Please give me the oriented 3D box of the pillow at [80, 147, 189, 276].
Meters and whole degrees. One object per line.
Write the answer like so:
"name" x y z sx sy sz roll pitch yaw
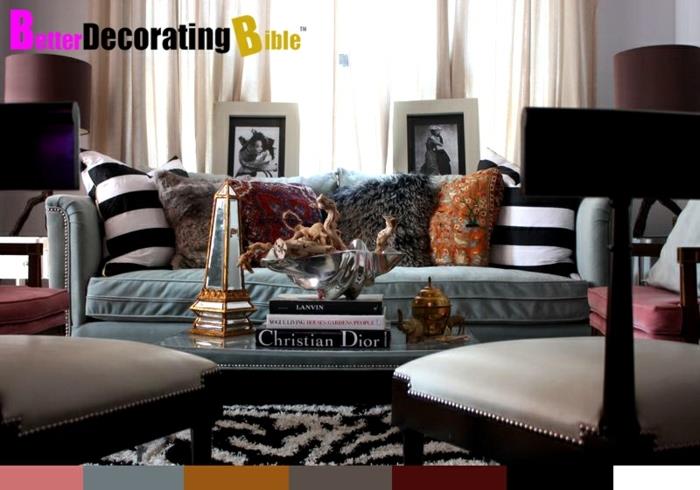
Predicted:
"pillow" -1.047 -0.140 2.933 0.290 0.570 0.620 3 23 27

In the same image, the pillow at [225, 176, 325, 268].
"pillow" -0.356 -0.116 2.929 0.418 0.460 0.200 1 -8 -18

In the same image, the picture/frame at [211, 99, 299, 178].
"picture/frame" -0.669 -0.732 4.286 0.609 0.644 0.064 2 -3 -2

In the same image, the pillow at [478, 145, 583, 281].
"pillow" 0.735 -0.075 2.462 0.544 0.541 0.213 3 -10 32

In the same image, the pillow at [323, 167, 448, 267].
"pillow" 0.195 -0.203 2.985 0.468 0.496 0.167 1 -15 8

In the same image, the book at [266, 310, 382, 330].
"book" -0.080 0.250 1.975 0.383 0.049 0.019 1 4 3

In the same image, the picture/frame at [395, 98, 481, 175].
"picture/frame" 0.637 -0.745 4.297 0.617 0.651 0.052 0 2 7

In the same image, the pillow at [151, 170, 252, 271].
"pillow" -0.784 -0.148 2.940 0.482 0.526 0.152 3 -17 -13
